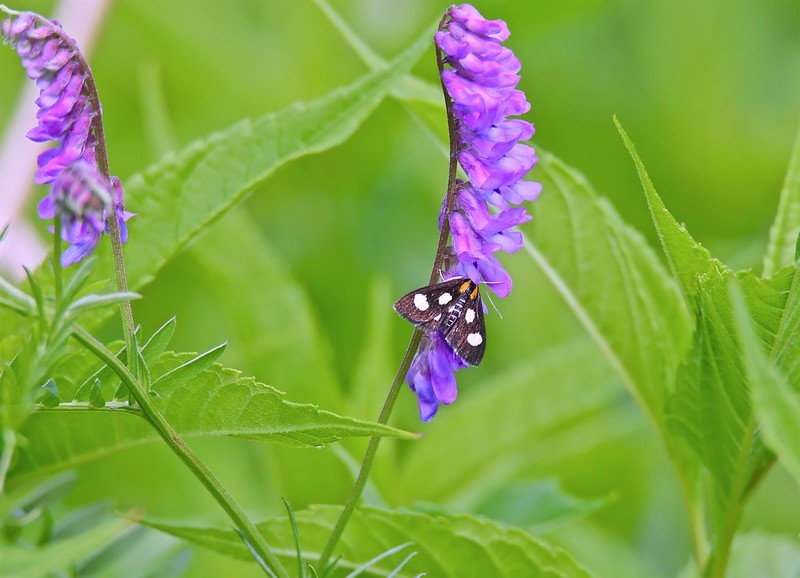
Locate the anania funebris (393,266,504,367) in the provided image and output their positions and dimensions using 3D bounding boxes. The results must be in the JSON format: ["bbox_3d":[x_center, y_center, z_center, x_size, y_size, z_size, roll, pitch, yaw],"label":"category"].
[{"bbox_3d":[0.080,0.031,1.175,0.151,0.036,0.119,40,-93,-4],"label":"anania funebris"}]
